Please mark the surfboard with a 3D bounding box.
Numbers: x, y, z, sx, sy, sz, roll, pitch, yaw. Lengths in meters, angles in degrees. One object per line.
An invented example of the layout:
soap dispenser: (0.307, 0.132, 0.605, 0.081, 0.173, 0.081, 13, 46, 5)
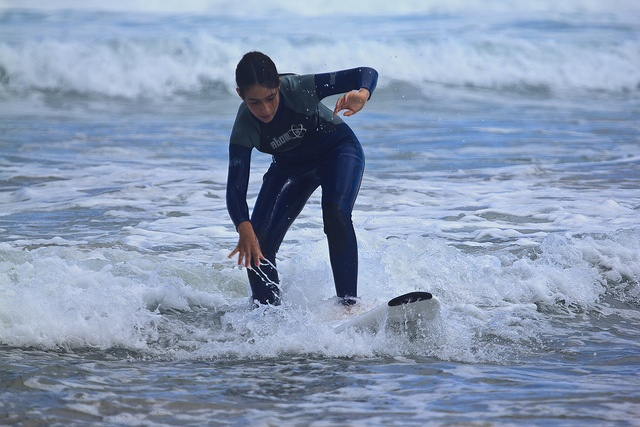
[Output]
surfboard: (0.743, 0.997, 8.666, 1.335, 0.270, 0.297, -11, -3, 11)
